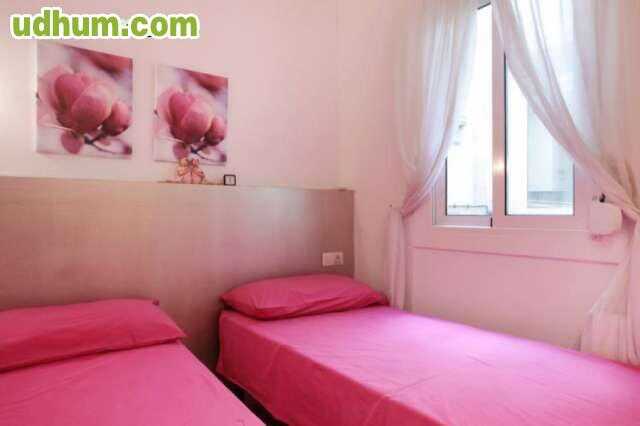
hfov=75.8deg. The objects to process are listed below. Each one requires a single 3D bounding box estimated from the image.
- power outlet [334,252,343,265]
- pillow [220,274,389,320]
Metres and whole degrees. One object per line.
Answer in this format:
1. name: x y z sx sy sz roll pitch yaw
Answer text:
1. power outlet: 0.163 0.412 3.724 0.113 0.161 0.016 2 1 -41
2. pillow: -0.114 0.632 3.121 0.797 0.172 0.470 3 -4 -21
